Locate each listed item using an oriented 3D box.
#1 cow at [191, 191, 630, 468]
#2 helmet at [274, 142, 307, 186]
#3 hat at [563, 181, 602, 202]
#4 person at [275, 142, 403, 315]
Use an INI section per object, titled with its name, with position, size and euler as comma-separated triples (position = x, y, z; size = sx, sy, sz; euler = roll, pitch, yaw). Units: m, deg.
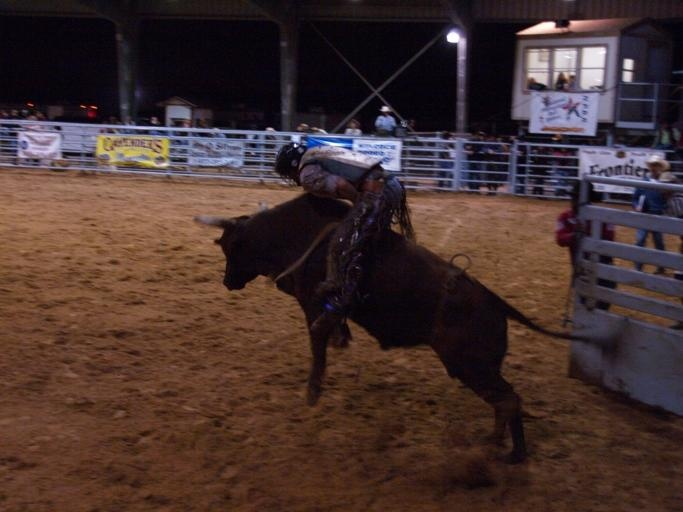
[cow]
position = 0.291, 0.414, 4.268
size = 3.320, 1.432, 0.700
euler = 14, 21, 31
[helmet]
position = -0.395, -0.649, 4.192
size = 0.378, 0.267, 0.262
euler = 4, -2, -8
[hat]
position = 2.100, -0.553, 5.062
size = 0.250, 0.048, 0.219
euler = 0, -24, 18
[person]
position = 0.075, -0.190, 4.014
size = 0.883, 1.123, 0.750
euler = -3, 13, -17
